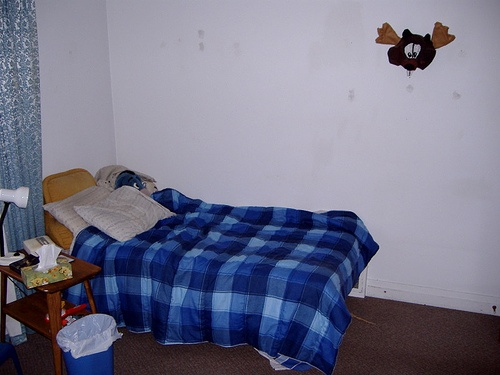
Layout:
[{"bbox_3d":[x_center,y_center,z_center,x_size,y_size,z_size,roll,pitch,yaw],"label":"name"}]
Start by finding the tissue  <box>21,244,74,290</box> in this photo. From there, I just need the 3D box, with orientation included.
[{"bbox_3d":[-1.371,0.502,2.658,0.283,0.258,0.161,-5,17,-40],"label":"tissue "}]

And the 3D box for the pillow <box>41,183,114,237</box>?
[{"bbox_3d":[-1.453,0.158,3.359,0.379,0.096,0.371,33,41,22],"label":"pillow"}]

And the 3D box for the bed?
[{"bbox_3d":[-0.349,0.576,3.166,2.244,0.885,1.545,9,28,18],"label":"bed"}]
